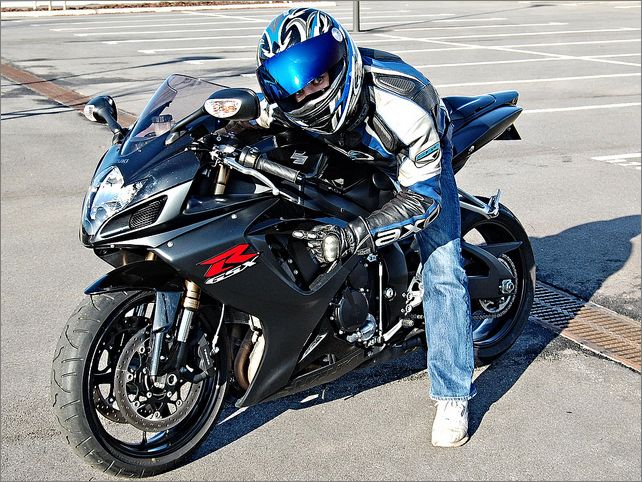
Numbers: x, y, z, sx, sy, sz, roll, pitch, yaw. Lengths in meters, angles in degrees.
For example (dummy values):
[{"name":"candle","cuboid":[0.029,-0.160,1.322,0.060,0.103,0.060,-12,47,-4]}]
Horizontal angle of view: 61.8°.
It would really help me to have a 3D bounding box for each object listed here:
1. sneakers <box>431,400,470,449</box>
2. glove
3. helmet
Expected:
[{"name":"sneakers","cuboid":[0.759,0.989,3.094,0.213,0.158,0.452,4,16,20]},{"name":"glove","cuboid":[0.088,0.026,2.617,0.468,0.152,0.234,0,-7,-10]},{"name":"helmet","cuboid":[-0.050,-0.760,2.413,0.467,0.540,0.306,-14,26,-12]}]
